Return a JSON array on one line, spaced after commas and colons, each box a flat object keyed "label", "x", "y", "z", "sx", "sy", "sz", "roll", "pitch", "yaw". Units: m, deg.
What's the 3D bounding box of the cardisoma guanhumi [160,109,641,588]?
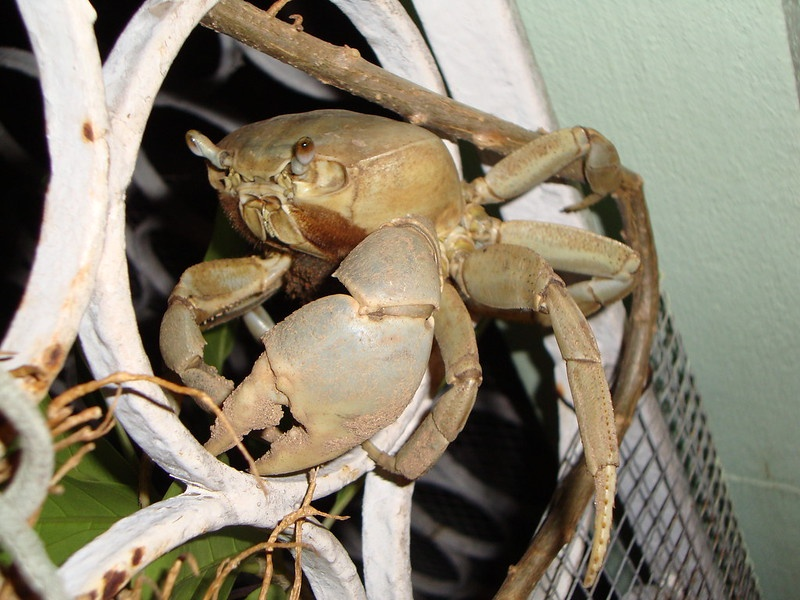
[{"label": "cardisoma guanhumi", "x": -0.005, "y": -0.005, "z": 1.263, "sx": 0.764, "sy": 0.730, "sz": 0.473, "roll": 12, "pitch": 1, "yaw": 14}]
